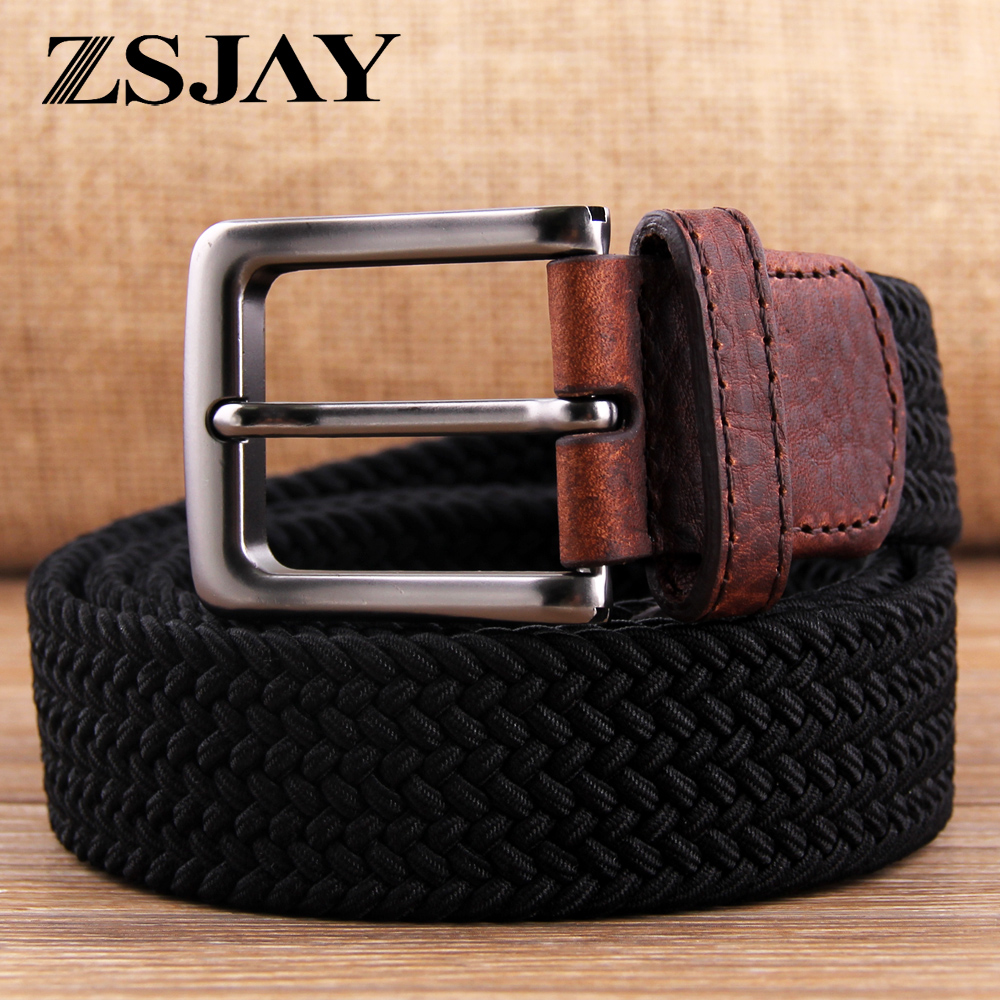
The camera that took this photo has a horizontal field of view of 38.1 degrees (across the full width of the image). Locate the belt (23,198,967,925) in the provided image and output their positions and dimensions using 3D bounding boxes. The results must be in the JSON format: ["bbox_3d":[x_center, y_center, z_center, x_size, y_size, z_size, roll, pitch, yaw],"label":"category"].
[{"bbox_3d":[0.021,0.006,0.611,0.407,0.110,0.385,1,16,13],"label":"belt"}]
